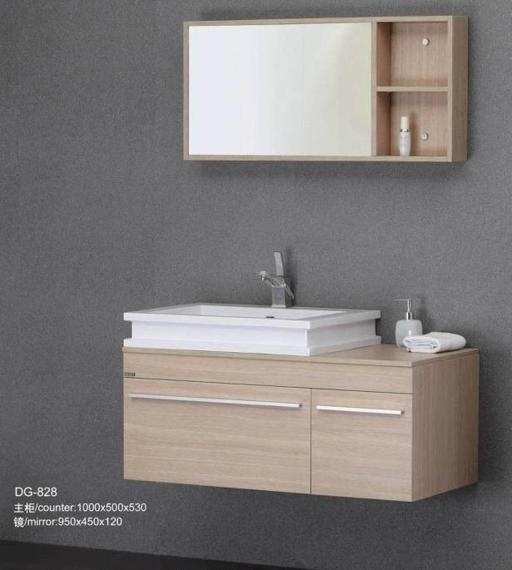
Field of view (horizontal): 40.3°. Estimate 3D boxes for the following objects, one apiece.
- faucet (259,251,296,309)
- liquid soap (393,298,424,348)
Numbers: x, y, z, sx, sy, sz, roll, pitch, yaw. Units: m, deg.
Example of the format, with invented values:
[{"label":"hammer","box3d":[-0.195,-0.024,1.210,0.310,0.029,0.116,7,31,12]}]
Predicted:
[{"label":"faucet","box3d":[0.106,-0.021,2.850,0.209,0.217,0.099,-4,4,38]},{"label":"liquid soap","box3d":[0.573,0.136,2.559,0.106,0.167,0.099,4,7,12]}]
